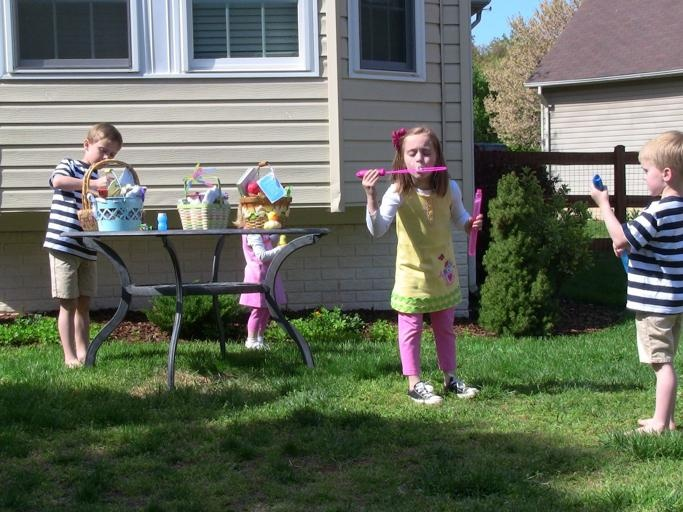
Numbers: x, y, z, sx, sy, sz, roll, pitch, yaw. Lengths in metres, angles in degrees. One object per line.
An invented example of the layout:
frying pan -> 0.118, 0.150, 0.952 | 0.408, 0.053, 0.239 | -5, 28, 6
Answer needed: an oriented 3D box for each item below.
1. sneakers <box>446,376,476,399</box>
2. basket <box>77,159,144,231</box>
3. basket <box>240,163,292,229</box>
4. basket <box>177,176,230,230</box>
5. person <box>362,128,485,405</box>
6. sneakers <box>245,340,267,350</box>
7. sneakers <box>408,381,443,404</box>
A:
sneakers -> 0.938, 1.045, 7.786 | 0.114, 0.119, 0.279 | -16, 16, -41
basket -> -1.882, -0.484, 8.166 | 0.535, 0.660, 0.651 | 1, -5, -5
basket -> -0.643, -0.531, 8.654 | 0.558, 0.577, 0.502 | 1, -2, -23
basket -> -1.163, -0.453, 8.142 | 0.407, 0.439, 0.331 | -1, 4, 34
person -> 0.631, 0.061, 7.704 | 0.904, 2.098, 0.777 | 1, 13, 8
sneakers -> -0.809, 0.849, 9.226 | 0.222, 0.095, 0.082 | 1, 6, 6
sneakers -> 0.643, 1.083, 7.622 | 0.112, 0.121, 0.283 | -1, -2, -36
